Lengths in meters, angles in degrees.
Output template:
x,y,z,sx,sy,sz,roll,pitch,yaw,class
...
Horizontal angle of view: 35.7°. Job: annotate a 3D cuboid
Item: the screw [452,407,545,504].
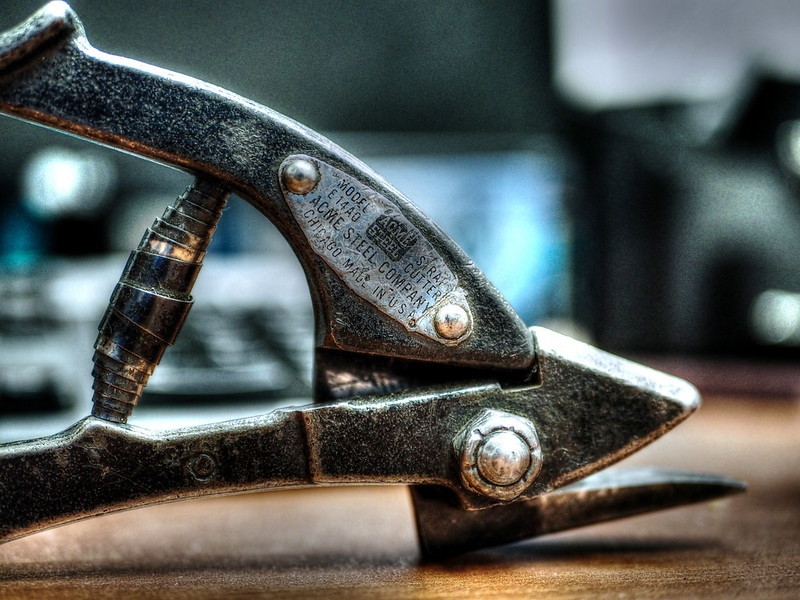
x,y,z,sx,sy,sz,roll,pitch,yaw,class
0.093,0.143,1.157,0.078,0.029,0.086,-14,83,1,screw
